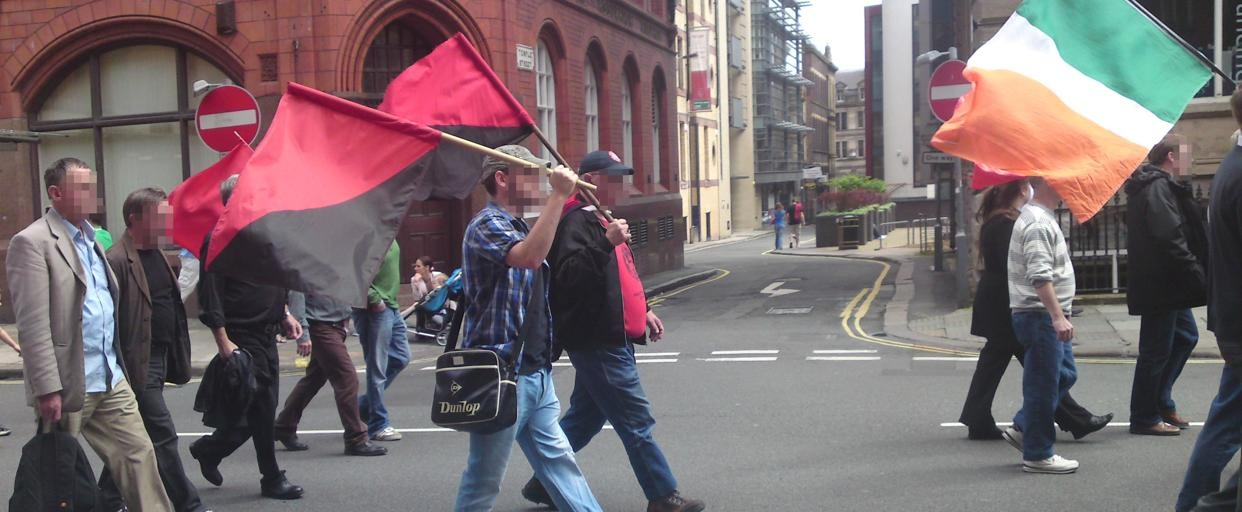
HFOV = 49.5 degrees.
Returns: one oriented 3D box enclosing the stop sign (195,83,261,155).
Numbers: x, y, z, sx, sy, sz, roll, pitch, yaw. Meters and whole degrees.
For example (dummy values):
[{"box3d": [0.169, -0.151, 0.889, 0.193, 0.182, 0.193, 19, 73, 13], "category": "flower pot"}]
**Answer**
[{"box3d": [-8.937, -3.086, 30.507, 1.949, 1.491, 0.113, -4, 1, 26], "category": "stop sign"}]
